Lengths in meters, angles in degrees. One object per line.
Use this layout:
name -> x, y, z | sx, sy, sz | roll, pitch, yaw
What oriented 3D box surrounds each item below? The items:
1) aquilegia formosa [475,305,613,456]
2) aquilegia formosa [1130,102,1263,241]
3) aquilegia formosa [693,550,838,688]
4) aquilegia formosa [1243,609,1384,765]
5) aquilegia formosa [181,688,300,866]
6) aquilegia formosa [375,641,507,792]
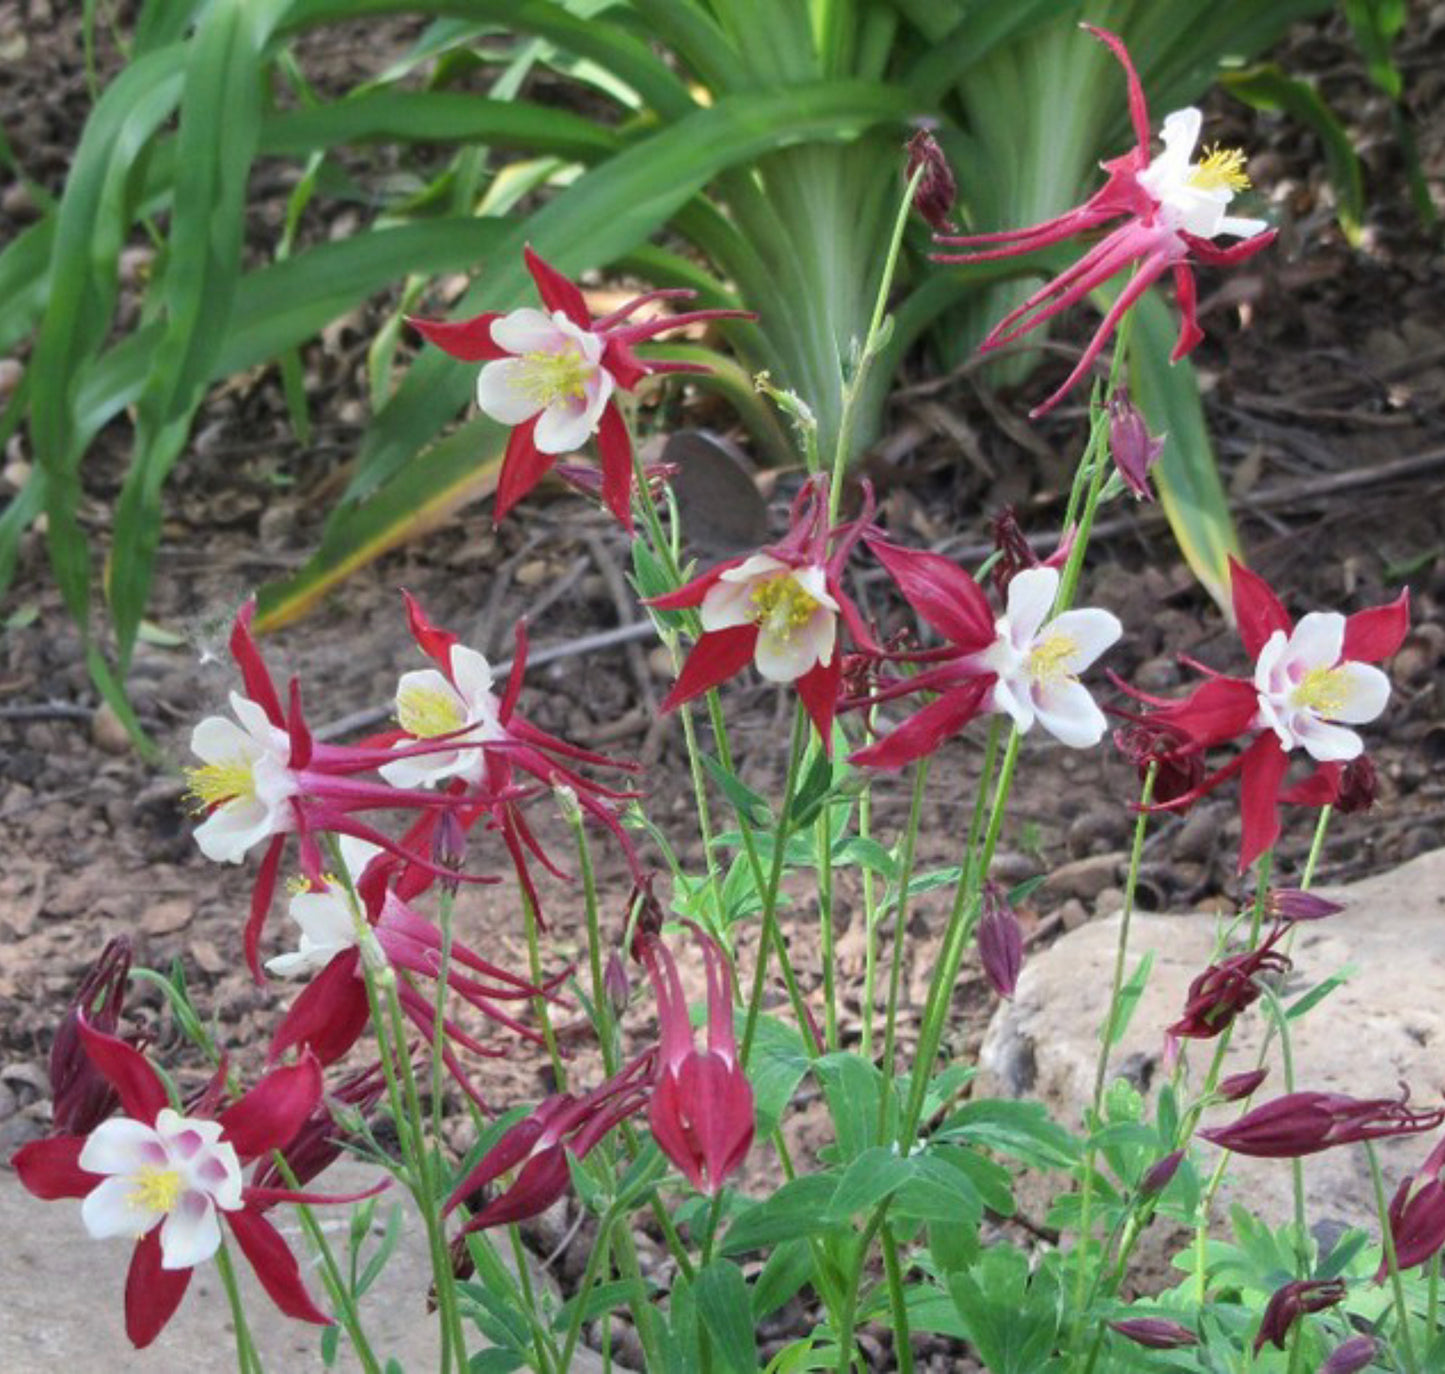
aquilegia formosa -> -0.120, -0.240, 1.503 | 0.096, 0.105, 0.050 | -37, -1, 23
aquilegia formosa -> 0.367, -0.385, 1.516 | 0.093, 0.082, 0.083 | 17, 41, 25
aquilegia formosa -> 0.040, -0.063, 1.396 | 0.132, 0.073, 0.163 | 1, 3, -9
aquilegia formosa -> 0.444, 0.001, 1.464 | 0.120, 0.098, 0.086 | -6, 36, -2
aquilegia formosa -> -0.328, 0.056, 1.348 | 0.053, 0.098, 0.100 | -2, 38, -20
aquilegia formosa -> -0.194, 0.029, 1.431 | 0.093, 0.100, 0.050 | 29, 11, 32
